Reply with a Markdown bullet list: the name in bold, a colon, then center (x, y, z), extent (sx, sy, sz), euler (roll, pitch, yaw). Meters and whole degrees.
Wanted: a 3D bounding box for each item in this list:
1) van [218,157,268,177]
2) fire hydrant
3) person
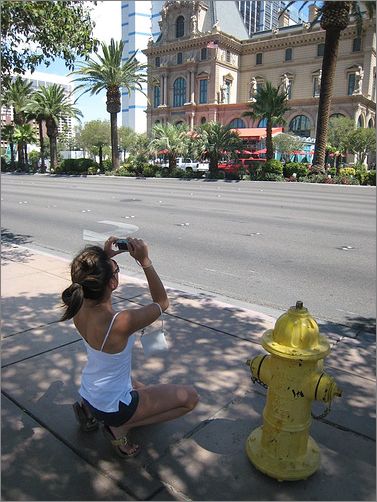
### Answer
- **van**: center (4.833, -7.296, 35.163), extent (4.297, 1.654, 2.246), euler (8, 22, 16)
- **fire hydrant**: center (0.644, 0.909, 2.333), extent (0.545, 1.080, 0.676), euler (-17, 25, -34)
- **person**: center (-0.329, 0.542, 2.166), extent (0.725, 1.196, 0.402), euler (-2, 12, -20)
